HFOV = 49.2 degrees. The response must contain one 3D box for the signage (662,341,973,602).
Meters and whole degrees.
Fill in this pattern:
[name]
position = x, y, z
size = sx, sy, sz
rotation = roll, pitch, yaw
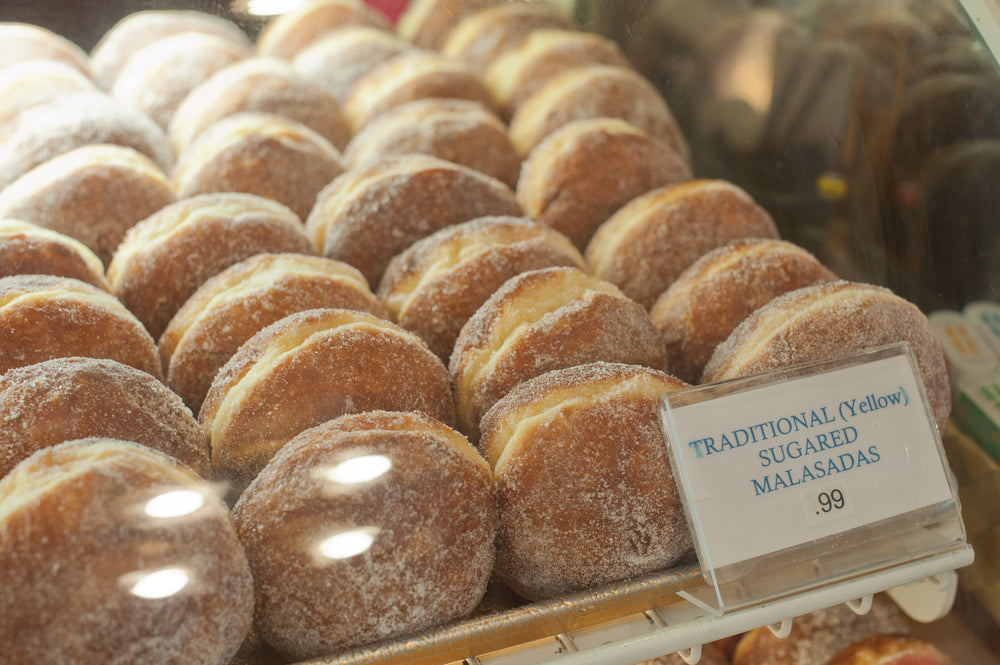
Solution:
[signage]
position = 0.524, 0.238, 1.835
size = 0.507, 0.121, 0.403
rotation = -11, 86, -13
